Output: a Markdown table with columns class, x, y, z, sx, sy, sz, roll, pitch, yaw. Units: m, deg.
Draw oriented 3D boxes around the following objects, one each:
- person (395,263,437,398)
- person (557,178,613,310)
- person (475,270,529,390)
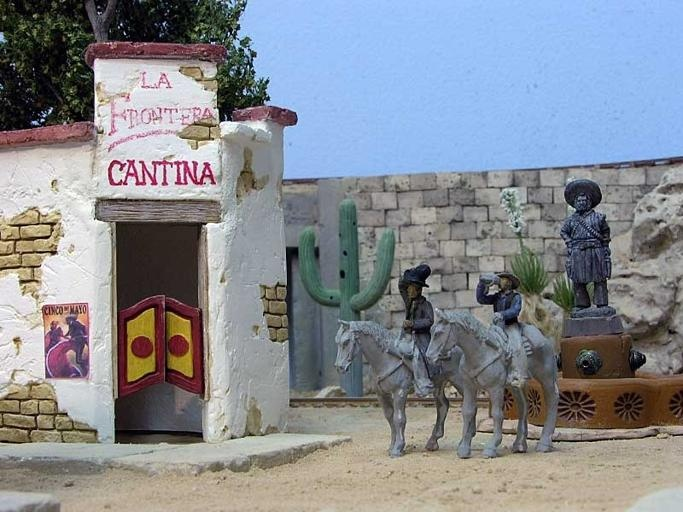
| class | x | y | z | sx | sy | sz | roll | pitch | yaw |
| --- | --- | --- | --- | --- | --- | --- | --- | --- | --- |
| person | 1.010 | 1.001 | 17.263 | 0.508 | 1.697 | 0.774 | 0 | 0 | 3 |
| person | 3.644 | -0.193 | 18.722 | 0.498 | 1.916 | 0.713 | 0 | 0 | -33 |
| person | 2.206 | 0.972 | 17.096 | 0.615 | 1.474 | 0.874 | 0 | 0 | -9 |
